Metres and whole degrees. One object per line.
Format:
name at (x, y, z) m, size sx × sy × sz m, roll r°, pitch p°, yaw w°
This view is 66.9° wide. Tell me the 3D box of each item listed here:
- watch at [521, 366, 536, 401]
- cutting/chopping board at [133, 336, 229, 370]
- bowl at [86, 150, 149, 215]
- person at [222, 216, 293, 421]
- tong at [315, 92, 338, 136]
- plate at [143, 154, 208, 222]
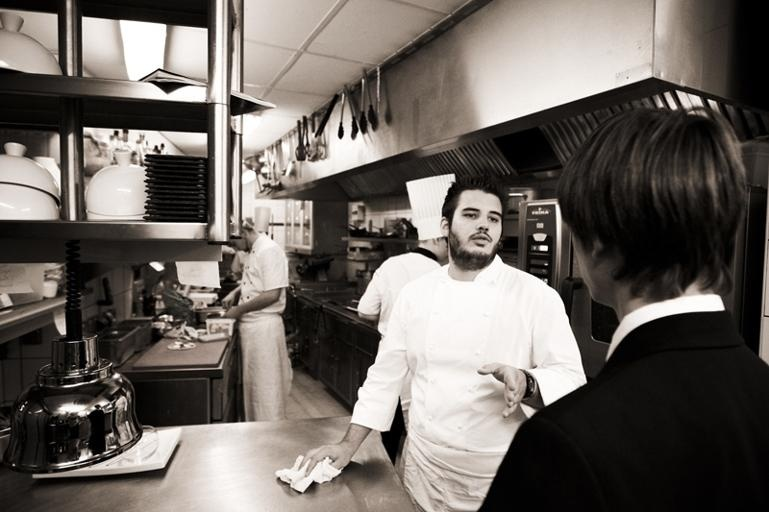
watch at (0.504, 0.449, 2.010) m, size 0.060 × 0.079 × 0.081 m, roll 6°, pitch 1°, yaw -4°
cutting/chopping board at (-1.231, 0.596, 3.612) m, size 0.476 × 0.088 × 0.721 m, roll 0°, pitch 10°, yaw -10°
bowl at (-0.797, -0.223, 1.784) m, size 0.220 × 0.205 × 0.213 m, roll 7°, pitch 15°, yaw -2°
person at (-0.946, 0.542, 4.353) m, size 0.480 × 1.523 × 0.642 m, roll 0°, pitch 11°, yaw -10°
tong at (-0.482, -1.162, 4.826) m, size 0.080 × 0.127 × 0.479 m, roll -41°, pitch -5°, yaw -30°
plate at (-0.600, -0.200, 1.718) m, size 0.195 × 0.195 × 0.068 m, roll 0°, pitch 3°, yaw -21°
